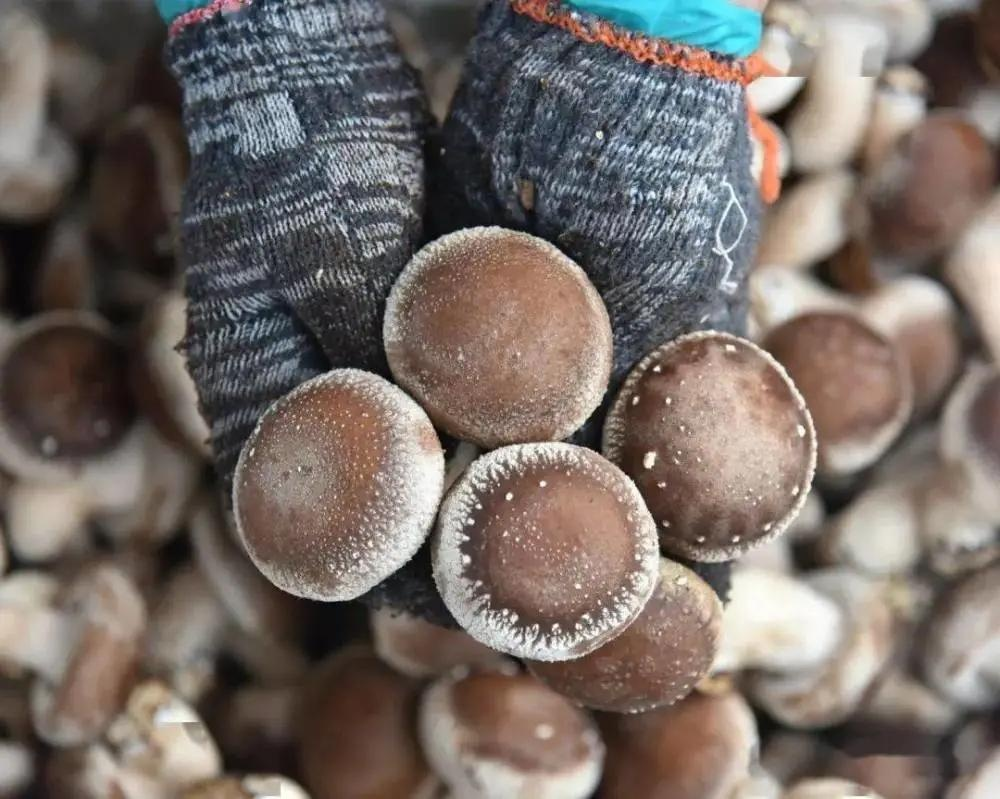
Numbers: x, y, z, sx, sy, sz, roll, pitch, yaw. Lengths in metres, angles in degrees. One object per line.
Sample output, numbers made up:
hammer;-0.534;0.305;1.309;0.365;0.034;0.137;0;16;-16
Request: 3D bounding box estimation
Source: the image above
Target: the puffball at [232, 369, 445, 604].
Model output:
puffball;-0.148;0.076;1.400;0.184;0.096;0.208;16;86;13
